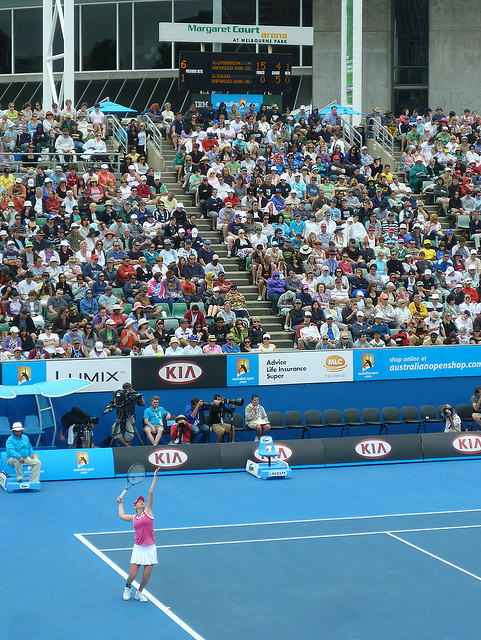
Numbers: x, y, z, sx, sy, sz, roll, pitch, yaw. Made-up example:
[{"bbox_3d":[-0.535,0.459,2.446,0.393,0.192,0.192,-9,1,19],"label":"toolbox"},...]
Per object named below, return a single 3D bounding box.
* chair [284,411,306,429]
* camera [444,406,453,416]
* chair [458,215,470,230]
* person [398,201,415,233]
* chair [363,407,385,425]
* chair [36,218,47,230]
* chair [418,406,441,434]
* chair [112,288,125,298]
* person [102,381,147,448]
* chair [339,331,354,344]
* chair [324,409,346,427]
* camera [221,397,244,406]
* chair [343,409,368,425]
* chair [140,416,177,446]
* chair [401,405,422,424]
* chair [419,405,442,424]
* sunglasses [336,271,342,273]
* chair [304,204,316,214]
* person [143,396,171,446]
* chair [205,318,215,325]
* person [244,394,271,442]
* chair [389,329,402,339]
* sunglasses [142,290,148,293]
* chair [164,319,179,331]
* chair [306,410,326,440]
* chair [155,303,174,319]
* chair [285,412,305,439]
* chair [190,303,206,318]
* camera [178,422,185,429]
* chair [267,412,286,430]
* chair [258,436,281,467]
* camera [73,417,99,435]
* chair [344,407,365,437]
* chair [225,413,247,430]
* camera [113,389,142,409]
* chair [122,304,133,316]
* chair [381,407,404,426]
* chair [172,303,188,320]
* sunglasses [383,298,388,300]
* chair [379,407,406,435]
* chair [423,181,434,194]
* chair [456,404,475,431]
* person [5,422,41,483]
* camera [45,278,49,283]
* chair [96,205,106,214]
[{"bbox_3d":[1.221,2.333,26.445,0.396,0.352,0.383,1,-2,-16],"label":"chair"},{"bbox_3d":[4.833,2.168,26.659,0.258,0.190,0.163,-2,9,-25],"label":"camera"},{"bbox_3d":[6.726,-2.974,34.530,0.345,0.367,0.371,1,3,-4],"label":"chair"},{"bbox_3d":[4.942,-3.127,34.211,0.490,0.853,1.348,3,8,8],"label":"person"},{"bbox_3d":[3.087,2.296,26.986,0.386,0.354,0.365,1,-1,-18],"label":"chair"},{"bbox_3d":[-5.217,-2.515,29.771,0.275,0.403,0.327,0,0,-7],"label":"chair"},{"bbox_3d":[4.493,2.313,27.449,0.360,0.646,0.445,0,-4,-12],"label":"chair"},{"bbox_3d":[-2.973,-0.676,27.766,0.168,0.256,0.202,1,-2,-20],"label":"chair"},{"bbox_3d":[-2.550,2.088,24.617,0.891,1.417,0.654,0,7,-10],"label":"person"},{"bbox_3d":[2.618,0.399,27.847,0.215,0.312,0.245,1,0,-14],"label":"chair"},{"bbox_3d":[2.157,2.317,26.678,0.405,0.362,0.386,1,-2,-19],"label":"chair"},{"bbox_3d":[-0.161,1.824,25.217,0.363,0.164,0.233,2,1,11],"label":"camera"},{"bbox_3d":[2.616,2.295,26.870,0.349,0.313,0.330,1,-2,-21],"label":"chair"},{"bbox_3d":[-1.814,2.495,25.231,0.743,0.716,0.607,1,8,-4],"label":"chair"},{"bbox_3d":[4.066,2.276,27.332,0.412,0.379,0.394,2,-1,-14],"label":"chair"},{"bbox_3d":[4.528,2.283,27.402,0.395,0.386,0.426,1,-2,-16],"label":"chair"},{"bbox_3d":[2.519,-1.250,29.569,0.115,0.044,0.085,2,8,0],"label":"sunglasses"},{"bbox_3d":[2.017,-3.242,33.079,0.274,0.401,0.281,1,0,-14],"label":"chair"},{"bbox_3d":[-1.846,2.257,24.913,0.624,1.190,0.843,-1,-4,0],"label":"person"},{"bbox_3d":[-0.740,0.032,27.770,0.197,0.206,0.109,0,-10,-5],"label":"chair"},{"bbox_3d":[0.362,2.272,25.719,0.590,1.179,1.429,2,8,0],"label":"person"},{"bbox_3d":[3.855,0.356,28.787,0.261,0.182,0.577,4,9,13],"label":"chair"},{"bbox_3d":[-2.300,-0.688,27.246,0.054,0.074,0.188,6,9,27],"label":"sunglasses"},{"bbox_3d":[-1.673,0.132,27.524,0.244,0.348,0.257,1,-7,-6],"label":"chair"},{"bbox_3d":[1.686,2.444,26.547,0.480,0.810,0.573,-1,-3,-11],"label":"chair"},{"bbox_3d":[-1.846,-0.220,27.625,0.348,0.333,0.364,1,0,-22],"label":"chair"},{"bbox_3d":[1.226,2.331,26.457,0.332,0.586,0.407,1,-6,-9],"label":"chair"},{"bbox_3d":[-1.021,-0.230,27.939,0.341,0.363,0.289,0,-1,-32],"label":"chair"},{"bbox_3d":[-1.284,2.297,24.584,0.159,0.159,0.060,-3,9,-31],"label":"camera"},{"bbox_3d":[0.800,2.318,26.208,0.335,0.478,0.392,1,-6,-12],"label":"chair"},{"bbox_3d":[0.572,2.796,24.246,0.429,0.611,0.406,2,8,1],"label":"chair"},{"bbox_3d":[-3.323,2.293,24.575,0.575,0.305,0.212,-6,11,-42],"label":"camera"},{"bbox_3d":[2.612,2.419,26.856,0.521,0.837,0.587,0,-2,-9],"label":"chair"},{"bbox_3d":[-0.113,2.340,25.927,0.396,0.408,0.351,2,-4,-29],"label":"chair"},{"bbox_3d":[-2.437,1.696,24.406,0.496,0.242,0.373,0,5,-19],"label":"camera"},{"bbox_3d":[-2.729,-0.262,27.296,0.200,0.271,0.209,0,8,-10],"label":"chair"},{"bbox_3d":[3.587,2.300,27.178,0.421,0.374,0.408,0,0,-20],"label":"chair"},{"bbox_3d":[-1.516,-0.224,27.779,0.328,0.480,0.360,2,-3,-10],"label":"chair"},{"bbox_3d":[3.668,-0.539,28.959,0.175,0.042,0.071,-6,11,-42],"label":"sunglasses"},{"bbox_3d":[3.555,2.422,27.304,0.542,0.906,0.633,1,-7,-9],"label":"chair"},{"bbox_3d":[5.999,-4.250,36.489,0.299,0.399,0.413,1,3,4],"label":"chair"},{"bbox_3d":[5.410,2.350,27.620,0.458,0.766,0.545,0,0,-8],"label":"chair"},{"bbox_3d":[-4.288,2.611,22.471,0.659,1.266,0.629,0,8,-13],"label":"person"},{"bbox_3d":[-4.568,-0.920,26.887,0.087,0.074,0.127,0,9,0],"label":"camera"},{"bbox_3d":[-3.809,-3.048,30.902,0.316,0.238,0.181,1,-6,-7],"label":"chair"}]
